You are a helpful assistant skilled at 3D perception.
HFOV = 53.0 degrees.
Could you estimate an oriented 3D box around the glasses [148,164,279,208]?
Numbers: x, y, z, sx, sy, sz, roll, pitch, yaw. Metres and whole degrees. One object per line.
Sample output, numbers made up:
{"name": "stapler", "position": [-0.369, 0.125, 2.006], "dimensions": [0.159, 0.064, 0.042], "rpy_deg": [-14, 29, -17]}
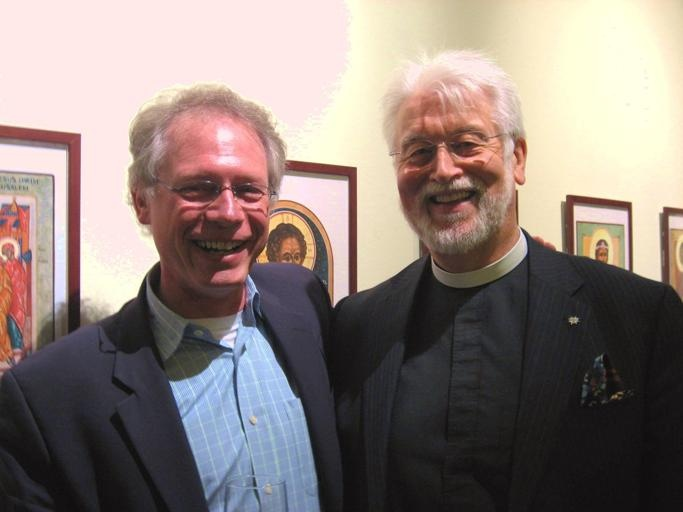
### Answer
{"name": "glasses", "position": [-0.512, -0.249, 2.671], "dimensions": [0.430, 0.139, 0.130], "rpy_deg": [-5, 6, -16]}

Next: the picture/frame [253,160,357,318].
{"name": "picture/frame", "position": [-0.190, -0.073, 3.197], "dimensions": [0.594, 0.770, 0.031], "rpy_deg": [10, 0, -34]}
